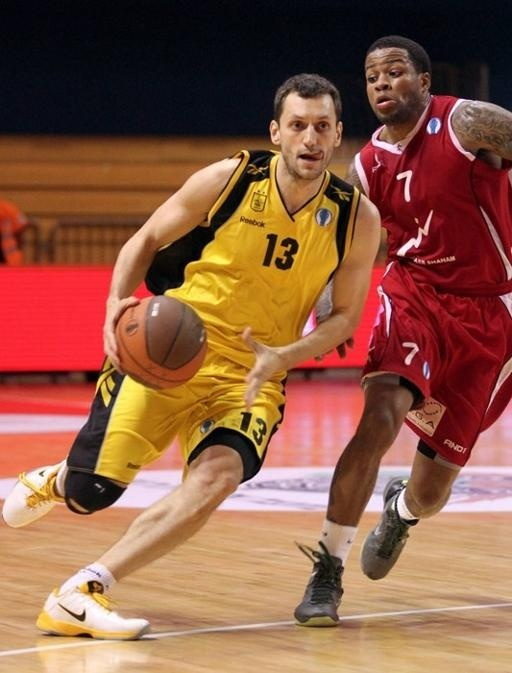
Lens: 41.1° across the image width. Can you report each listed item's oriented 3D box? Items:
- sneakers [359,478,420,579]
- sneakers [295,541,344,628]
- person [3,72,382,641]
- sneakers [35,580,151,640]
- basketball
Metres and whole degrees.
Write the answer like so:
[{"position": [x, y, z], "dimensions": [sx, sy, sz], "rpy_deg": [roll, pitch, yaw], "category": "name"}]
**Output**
[{"position": [0.468, 0.685, 2.381], "dimensions": [0.131, 0.165, 0.412], "rpy_deg": [45, 37, -2], "category": "sneakers"}, {"position": [0.176, 0.655, 1.785], "dimensions": [0.088, 0.094, 0.235], "rpy_deg": [8, -1, 8], "category": "sneakers"}, {"position": [-0.088, 0.003, 1.799], "dimensions": [0.838, 1.391, 0.504], "rpy_deg": [-1, -7, 5], "category": "person"}, {"position": [-0.366, 0.613, 1.547], "dimensions": [0.276, 0.115, 0.089], "rpy_deg": [-1, -5, 23], "category": "sneakers"}, {"position": [-0.236, 0.009, 1.668], "dimensions": [0.226, 0.231, 0.136], "rpy_deg": [0, -7, -4], "category": "basketball"}]
